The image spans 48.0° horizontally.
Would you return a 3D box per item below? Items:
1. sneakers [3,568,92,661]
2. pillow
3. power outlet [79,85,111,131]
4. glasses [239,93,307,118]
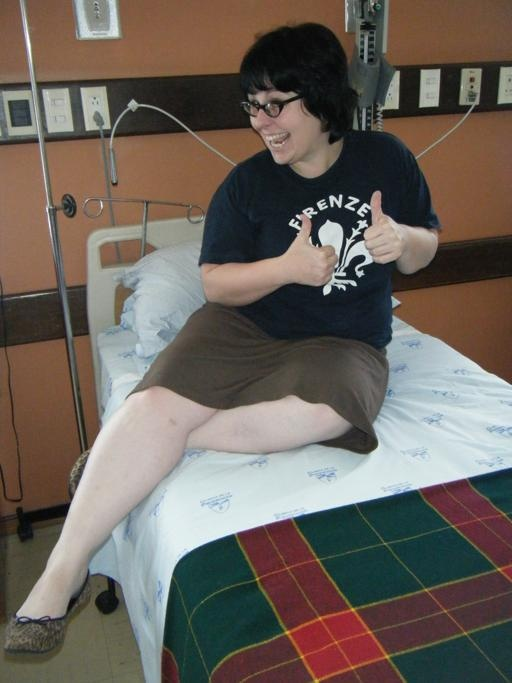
[{"bbox_3d":[-0.392,0.534,1.132,0.085,0.059,0.210,4,24,14],"label":"sneakers"},{"bbox_3d":[-0.283,-0.153,1.817,0.105,0.306,0.354,-18,18,41],"label":"pillow"},{"bbox_3d":[-0.538,-0.781,1.937,0.117,0.159,0.037,-11,-20,-2],"label":"power outlet"},{"bbox_3d":[0.027,-0.526,1.302,0.142,0.050,0.063,10,20,35],"label":"glasses"}]
